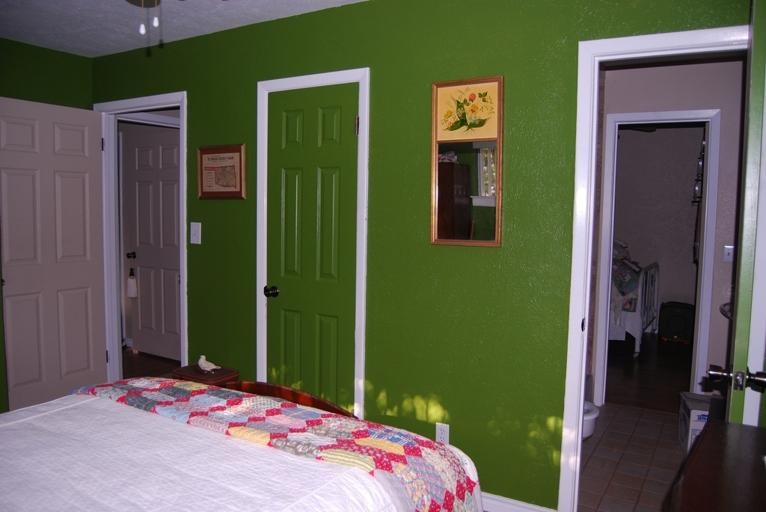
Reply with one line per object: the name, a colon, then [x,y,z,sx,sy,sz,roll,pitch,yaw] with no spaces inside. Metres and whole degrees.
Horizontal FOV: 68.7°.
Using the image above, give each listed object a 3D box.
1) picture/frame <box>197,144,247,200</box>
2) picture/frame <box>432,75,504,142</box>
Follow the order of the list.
picture/frame: [-1.278,-0.679,4.507,0.444,0.460,0.049,2,3,27]
picture/frame: [0.577,-0.969,3.676,0.447,0.379,0.033,2,7,25]
